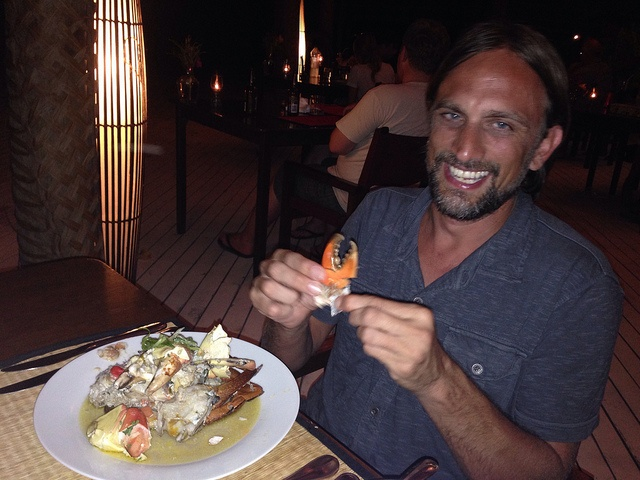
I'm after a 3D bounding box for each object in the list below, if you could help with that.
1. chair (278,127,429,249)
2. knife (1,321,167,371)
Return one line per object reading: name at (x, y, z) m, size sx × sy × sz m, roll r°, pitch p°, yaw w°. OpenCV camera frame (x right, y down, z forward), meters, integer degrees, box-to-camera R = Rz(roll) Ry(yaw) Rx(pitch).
chair at (0.189, -0.361, 2.921) m, size 0.516 × 0.888 × 0.622 m, roll -24°, pitch 49°, yaw -34°
knife at (-0.613, 0.276, 1.182) m, size 0.373 × 0.052 × 0.019 m, roll -11°, pitch -13°, yaw -24°
